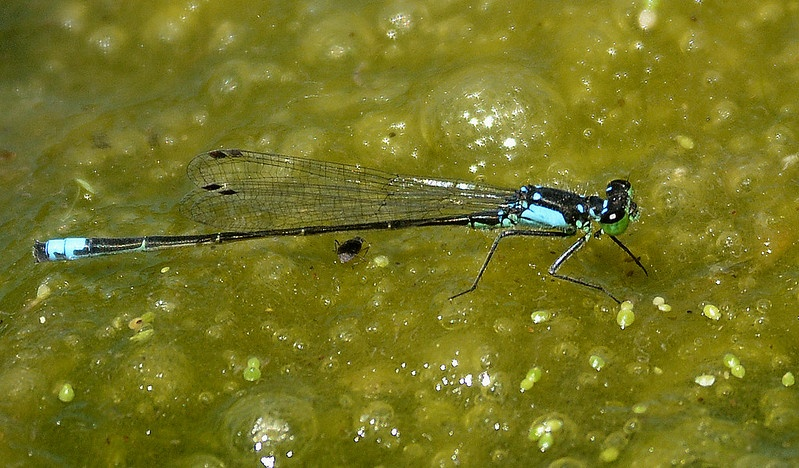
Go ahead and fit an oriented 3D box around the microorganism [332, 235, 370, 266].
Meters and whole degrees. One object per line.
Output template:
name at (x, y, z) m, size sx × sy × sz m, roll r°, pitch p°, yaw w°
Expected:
microorganism at (-0.425, 0.133, 6.822) m, size 0.233 × 0.073 × 0.252 m, roll 15°, pitch 38°, yaw 28°
